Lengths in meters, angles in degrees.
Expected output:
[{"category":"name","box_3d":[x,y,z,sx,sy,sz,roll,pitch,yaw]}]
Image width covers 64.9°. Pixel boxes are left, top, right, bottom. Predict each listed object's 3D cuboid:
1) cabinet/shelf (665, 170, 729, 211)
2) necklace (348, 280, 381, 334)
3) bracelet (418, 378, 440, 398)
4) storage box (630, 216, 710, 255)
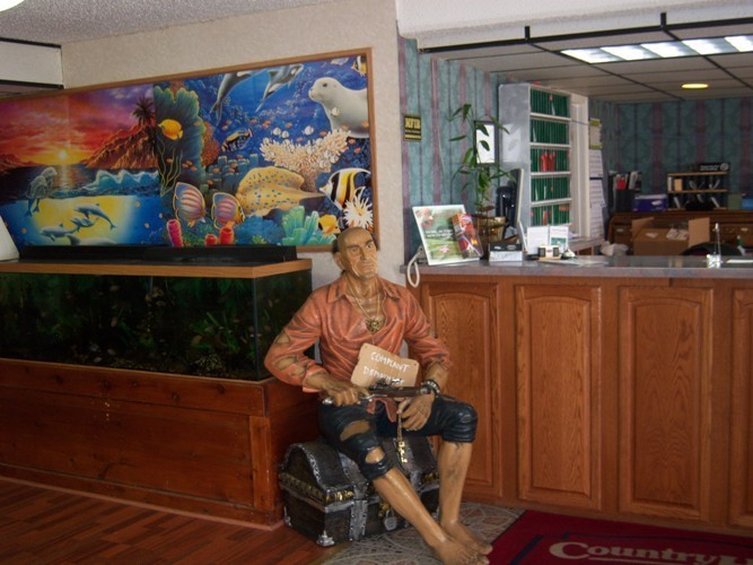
[{"category":"cabinet/shelf","box_3d":[4.125,-1.177,7.554,0.597,0.371,0.194,1,2,22]},{"category":"necklace","box_3d":[-0.079,0.141,3.299,0.168,0.288,0.071,-13,-2,-24]},{"category":"bracelet","box_3d":[0.288,0.564,3.175,0.089,0.051,0.094,7,16,-12]},{"category":"storage box","box_3d":[2.748,-0.432,5.564,0.655,0.377,0.654,1,4,41]}]
